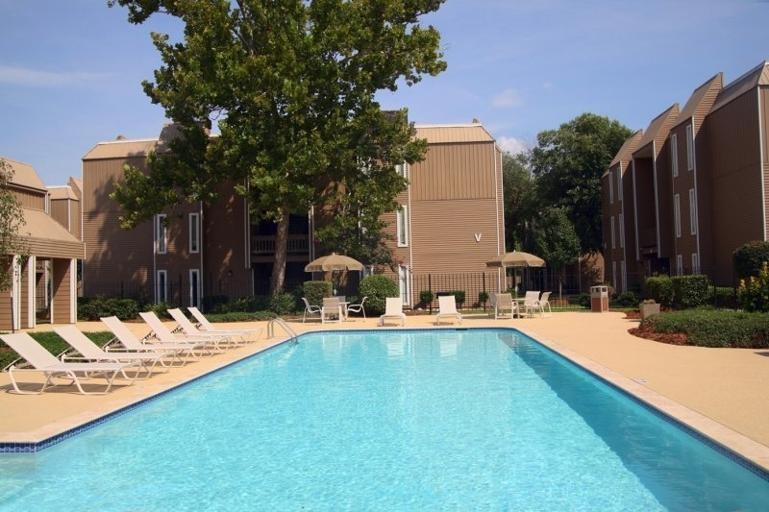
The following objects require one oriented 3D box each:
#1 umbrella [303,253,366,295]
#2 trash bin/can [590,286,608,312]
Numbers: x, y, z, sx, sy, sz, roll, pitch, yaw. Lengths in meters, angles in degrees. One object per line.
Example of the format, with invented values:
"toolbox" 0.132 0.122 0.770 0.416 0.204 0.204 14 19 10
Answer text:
"umbrella" -2.703 0.899 32.854 2.701 2.052 2.801 0 -5 -13
"trash bin/can" 11.119 2.259 32.618 0.795 1.394 0.894 -4 -6 17
